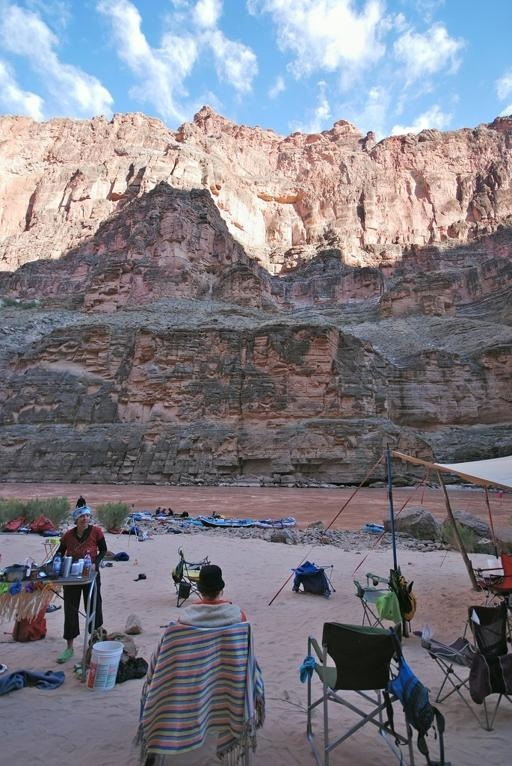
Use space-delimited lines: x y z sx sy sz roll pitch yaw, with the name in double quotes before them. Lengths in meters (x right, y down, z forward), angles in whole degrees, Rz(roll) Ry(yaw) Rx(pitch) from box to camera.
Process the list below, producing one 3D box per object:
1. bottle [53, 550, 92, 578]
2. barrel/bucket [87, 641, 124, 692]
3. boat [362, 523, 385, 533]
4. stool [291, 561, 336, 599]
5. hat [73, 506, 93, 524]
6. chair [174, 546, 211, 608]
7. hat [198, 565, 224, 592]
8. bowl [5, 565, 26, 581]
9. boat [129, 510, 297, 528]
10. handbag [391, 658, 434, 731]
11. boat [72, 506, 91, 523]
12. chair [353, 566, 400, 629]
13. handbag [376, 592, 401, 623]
"bottle" -1.630 1.650 4.858 0.195 0.092 0.260 3 -6 2
"barrel/bucket" -1.252 2.379 4.507 0.286 0.334 0.255 6 -14 -25
"boat" 2.625 3.257 11.947 0.267 0.136 0.353 1 -3 16
"stool" 0.774 2.700 7.316 0.564 0.386 0.385 -4 -13 16
"hat" -1.687 1.291 5.257 0.197 0.192 0.252 10 -14 -33
"chair" -0.886 2.674 7.303 0.440 0.625 0.460 3 -14 -15
"hat" -0.292 1.271 3.524 0.144 0.110 0.218 -1 5 -4
"bowl" -2.075 1.674 4.657 0.151 0.102 0.162 0 -13 0
"boat" -0.999 3.390 13.108 3.934 0.331 1.524 -1 -12 3
"handbag" 0.987 1.982 3.398 0.166 0.428 0.348 4 -13 -19
"boat" -1.696 1.280 5.227 0.160 0.156 0.206 9 -10 -40
"chair" 1.325 2.425 5.807 0.434 0.509 0.454 7 -21 46
"handbag" 1.343 2.304 5.484 0.254 0.333 0.173 7 -40 -7
